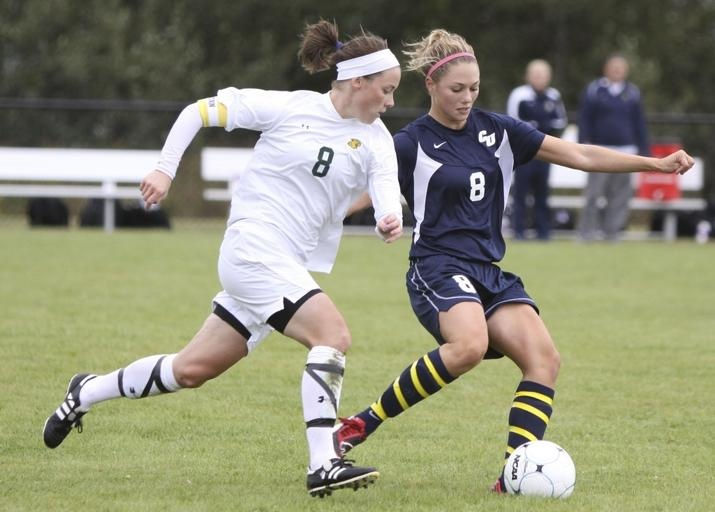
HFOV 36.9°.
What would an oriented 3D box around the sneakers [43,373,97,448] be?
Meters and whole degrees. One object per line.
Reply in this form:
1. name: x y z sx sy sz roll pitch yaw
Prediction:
1. sneakers: -1.835 1.003 6.857 0.153 0.410 0.121 12 -19 22
